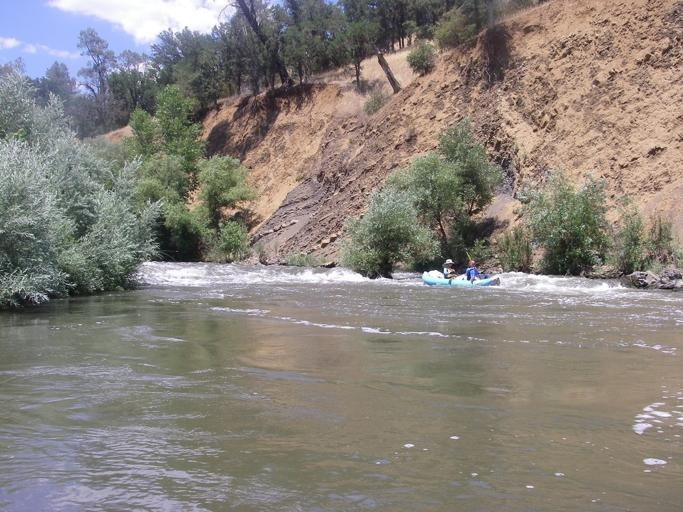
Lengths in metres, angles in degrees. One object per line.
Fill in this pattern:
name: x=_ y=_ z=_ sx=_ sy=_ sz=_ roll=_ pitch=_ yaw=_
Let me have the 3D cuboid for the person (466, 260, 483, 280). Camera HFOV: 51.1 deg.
person: x=5.569 y=0.578 z=29.764 sx=0.329 sy=0.870 sz=0.608 roll=-20 pitch=19 yaw=-29

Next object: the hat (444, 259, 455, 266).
hat: x=4.408 y=0.218 z=29.201 sx=0.327 sy=0.141 sz=0.444 roll=0 pitch=-4 yaw=1
